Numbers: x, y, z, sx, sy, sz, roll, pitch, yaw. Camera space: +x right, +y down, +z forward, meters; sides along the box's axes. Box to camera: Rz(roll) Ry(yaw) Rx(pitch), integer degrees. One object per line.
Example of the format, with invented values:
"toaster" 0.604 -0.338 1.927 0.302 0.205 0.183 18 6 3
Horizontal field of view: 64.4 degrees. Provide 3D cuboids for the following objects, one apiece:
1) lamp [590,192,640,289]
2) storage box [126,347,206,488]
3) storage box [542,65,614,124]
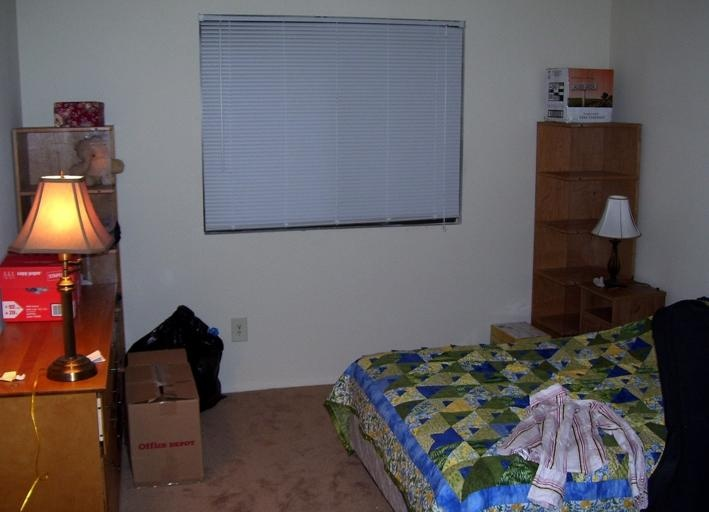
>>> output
"lamp" 2.009 -0.108 4.314 0.325 0.641 0.337 3 12 22
"storage box" -1.220 1.120 3.688 0.358 0.544 0.729 0 -2 -18
"storage box" 1.855 -1.320 4.655 0.443 0.425 0.357 -6 15 -18
